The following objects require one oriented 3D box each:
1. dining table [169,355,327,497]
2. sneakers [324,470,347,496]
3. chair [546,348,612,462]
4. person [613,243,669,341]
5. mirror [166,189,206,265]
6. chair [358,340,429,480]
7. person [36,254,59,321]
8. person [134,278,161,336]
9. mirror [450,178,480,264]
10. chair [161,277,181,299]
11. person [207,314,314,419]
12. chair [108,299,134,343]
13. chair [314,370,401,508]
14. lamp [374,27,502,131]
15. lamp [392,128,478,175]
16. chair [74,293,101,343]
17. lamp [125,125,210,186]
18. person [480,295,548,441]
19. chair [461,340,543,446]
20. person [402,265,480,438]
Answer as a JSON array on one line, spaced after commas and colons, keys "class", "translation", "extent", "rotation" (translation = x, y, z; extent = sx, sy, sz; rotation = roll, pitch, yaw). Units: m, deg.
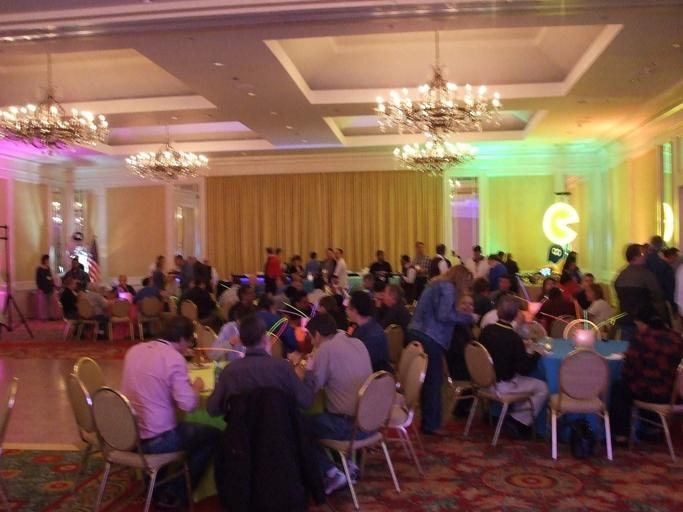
[{"class": "dining table", "translation": [-0.987, 1.353, 4.387], "extent": [0.803, 0.774, 0.807], "rotation": [2, 10, -26]}, {"class": "sneakers", "translation": [-0.103, 1.751, 4.046], "extent": [0.106, 0.126, 0.260], "rotation": [-4, -22, -48]}, {"class": "chair", "translation": [2.116, 1.280, 4.734], "extent": [0.535, 0.965, 0.589], "rotation": [-1, 2, 22]}, {"class": "person", "translation": [3.618, 0.768, 6.471], "extent": [0.512, 1.770, 0.533], "rotation": [-4, 5, -24]}, {"class": "mirror", "translation": [-4.113, -0.740, 14.036], "extent": [0.890, 2.100, 0.165], "rotation": [9, 21, 9]}, {"class": "chair", "translation": [0.393, 1.329, 4.476], "extent": [0.636, 1.019, 0.590], "rotation": [0, -9, -3]}, {"class": "person", "translation": [-6.859, 0.732, 12.224], "extent": [0.426, 1.525, 0.370], "rotation": [-1, 4, -12]}, {"class": "person", "translation": [-3.494, 1.044, 9.644], "extent": [0.446, 0.801, 0.481], "rotation": [0, 12, -15]}, {"class": "mirror", "translation": [3.109, -0.856, 13.225], "extent": [0.690, 2.608, 0.212], "rotation": [1, 38, 15]}, {"class": "chair", "translation": [-3.396, 0.636, 10.481], "extent": [0.140, 0.297, 0.290], "rotation": [0, 22, -4]}, {"class": "person", "translation": [-0.616, 0.846, 3.978], "extent": [0.646, 0.898, 0.464], "rotation": [1, 31, 2]}, {"class": "chair", "translation": [-4.043, 1.059, 9.657], "extent": [0.437, 0.783, 0.471], "rotation": [5, 16, -25]}, {"class": "chair", "translation": [0.180, 1.331, 4.069], "extent": [0.525, 1.006, 0.672], "rotation": [1, 4, 23]}, {"class": "lamp", "translation": [1.366, -2.502, 7.492], "extent": [1.614, 1.619, 1.584], "rotation": [-4, 8, -31]}, {"class": "lamp", "translation": [1.709, -1.951, 9.597], "extent": [0.910, 0.588, 0.960], "rotation": [16, -32, 16]}, {"class": "chair", "translation": [-4.488, 1.093, 9.534], "extent": [0.436, 0.765, 0.477], "rotation": [1, 9, 6]}, {"class": "lamp", "translation": [-3.545, -2.252, 10.866], "extent": [1.305, 1.275, 1.337], "rotation": [15, 16, 30]}, {"class": "person", "translation": [1.699, 1.066, 5.143], "extent": [0.697, 1.349, 0.599], "rotation": [3, 7, -17]}, {"class": "chair", "translation": [1.507, 1.290, 5.063], "extent": [0.568, 0.922, 0.508], "rotation": [-1, -2, -32]}, {"class": "person", "translation": [1.036, 0.954, 5.316], "extent": [0.727, 1.670, 0.592], "rotation": [4, 0, -8]}]
